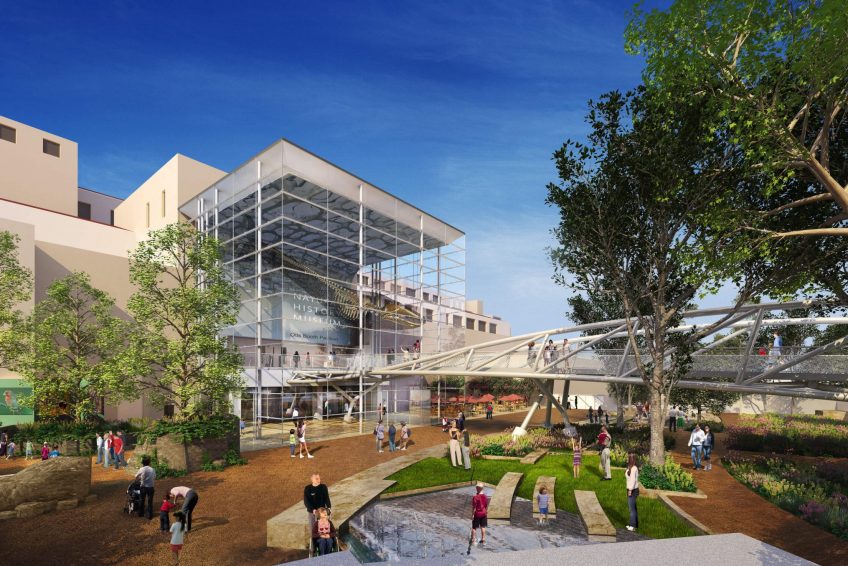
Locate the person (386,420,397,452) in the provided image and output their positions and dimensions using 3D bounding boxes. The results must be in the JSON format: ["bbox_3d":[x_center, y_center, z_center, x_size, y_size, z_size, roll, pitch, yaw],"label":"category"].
[{"bbox_3d":[-1.891,9.189,32.093,0.302,1.640,1.002,-1,-1,3],"label":"person"}]

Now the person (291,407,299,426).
[{"bbox_3d":[-10.450,10.762,43.851,0.612,1.408,2.248,-1,-2,-14],"label":"person"}]

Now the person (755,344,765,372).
[{"bbox_3d":[17.317,3.873,27.546,0.406,1.164,0.881,-1,-1,33],"label":"person"}]

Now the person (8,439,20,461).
[{"bbox_3d":[-24.373,9.801,31.811,0.411,0.979,1.518,0,-2,-38],"label":"person"}]
